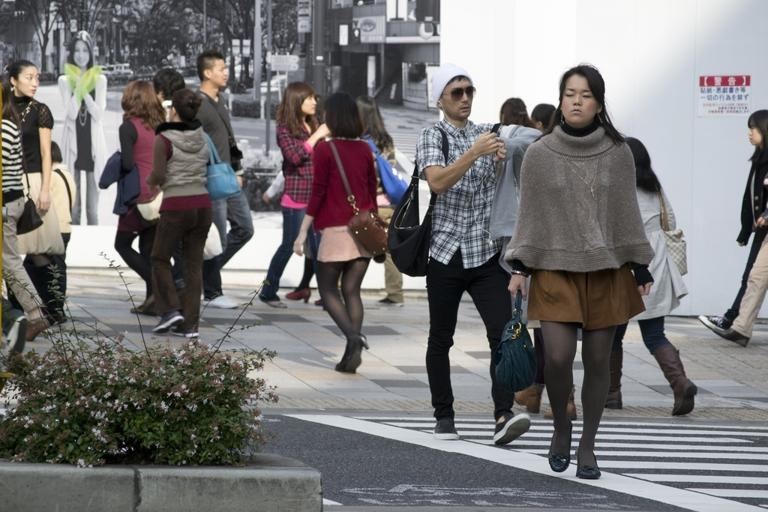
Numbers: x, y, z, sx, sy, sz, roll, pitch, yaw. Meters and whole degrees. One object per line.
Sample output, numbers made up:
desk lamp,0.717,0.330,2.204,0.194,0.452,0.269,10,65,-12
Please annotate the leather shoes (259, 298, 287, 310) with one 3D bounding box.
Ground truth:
leather shoes,-1.434,0.570,12.733,0.354,0.109,0.135,2,5,34

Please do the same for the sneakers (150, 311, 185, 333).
sneakers,-2.202,0.634,9.969,0.160,0.201,0.431,32,-39,-25

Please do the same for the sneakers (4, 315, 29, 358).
sneakers,-3.151,0.650,8.320,0.117,0.371,0.263,6,-9,12

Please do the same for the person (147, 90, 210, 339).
person,-2.082,-0.495,9.953,0.618,2.588,0.407,2,5,-13

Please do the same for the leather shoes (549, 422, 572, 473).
leather shoes,1.230,1.333,6.791,0.163,0.110,0.592,-12,16,16

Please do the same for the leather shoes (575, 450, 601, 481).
leather shoes,1.383,1.424,6.559,0.086,0.124,0.270,0,-10,2

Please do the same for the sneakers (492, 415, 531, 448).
sneakers,0.954,1.285,7.357,0.153,0.143,0.335,25,-48,-23

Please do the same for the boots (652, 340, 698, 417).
boots,2.626,1.084,8.785,0.421,0.646,0.298,7,6,32

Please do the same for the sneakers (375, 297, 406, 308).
sneakers,0.098,0.563,13.533,0.385,0.187,0.138,5,2,25

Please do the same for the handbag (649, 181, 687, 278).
handbag,2.765,-0.256,9.192,0.318,0.819,0.282,-10,-6,-30

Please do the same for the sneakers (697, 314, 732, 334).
sneakers,4.048,0.772,11.943,0.412,0.167,0.153,36,-7,39

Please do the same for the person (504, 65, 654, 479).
person,1.332,0.062,6.654,0.955,2.866,0.418,4,5,16

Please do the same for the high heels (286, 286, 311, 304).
high heels,-1.147,0.476,13.210,0.374,0.220,0.148,5,4,14

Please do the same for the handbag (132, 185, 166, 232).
handbag,-2.548,-0.585,10.629,0.322,0.309,0.391,-36,18,-14

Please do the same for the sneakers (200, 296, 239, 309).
sneakers,-2.037,0.524,12.156,0.472,0.232,0.184,0,6,2

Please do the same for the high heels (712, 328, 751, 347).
high heels,4.146,0.938,11.686,0.456,0.193,0.161,29,-2,2
